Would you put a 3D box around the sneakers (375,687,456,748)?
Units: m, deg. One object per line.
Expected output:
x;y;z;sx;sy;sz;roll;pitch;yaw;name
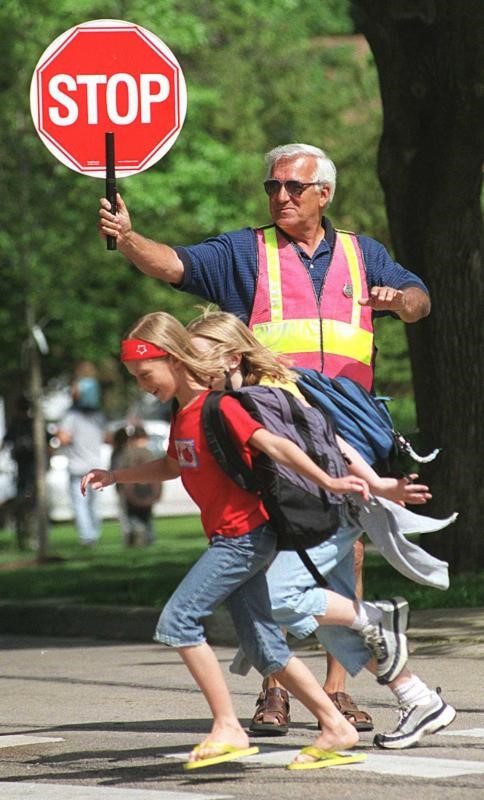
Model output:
0.593;1.076;4.418;0.299;0.143;0.100;-34;-21;16;sneakers

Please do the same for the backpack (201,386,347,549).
0.134;0.222;4.348;0.390;0.587;0.431;-13;0;26;backpack

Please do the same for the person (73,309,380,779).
-0.072;0.484;4.253;0.674;1.426;1.024;-10;23;-22;person

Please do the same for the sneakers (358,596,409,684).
0.473;0.779;4.411;0.174;0.328;0.120;-4;-9;-23;sneakers

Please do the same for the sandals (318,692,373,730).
0.413;1.155;4.838;0.116;0.130;0.327;-9;-2;-27;sandals
